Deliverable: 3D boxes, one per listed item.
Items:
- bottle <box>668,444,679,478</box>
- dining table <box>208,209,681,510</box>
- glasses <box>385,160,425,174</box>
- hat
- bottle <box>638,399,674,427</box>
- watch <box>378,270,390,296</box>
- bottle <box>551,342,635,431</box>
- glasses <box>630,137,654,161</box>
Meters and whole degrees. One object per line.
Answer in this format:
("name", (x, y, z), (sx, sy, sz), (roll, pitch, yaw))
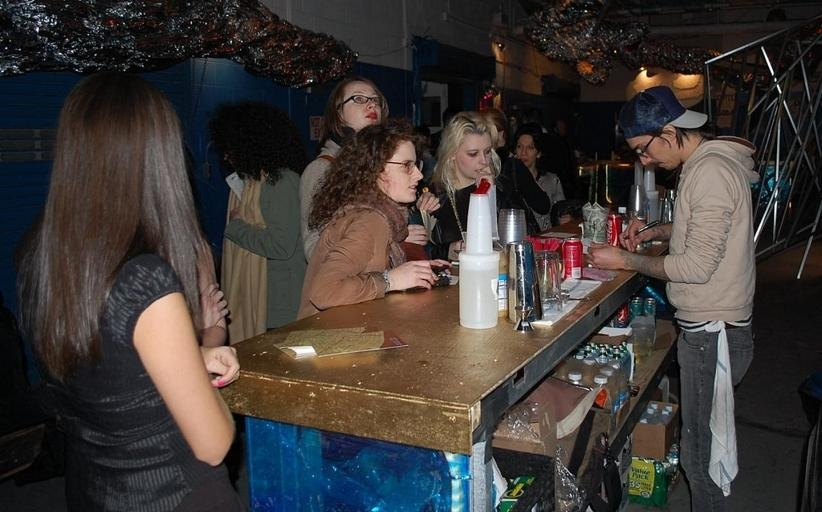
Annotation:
("bottle", (1.689, 1.311, 3.628), (0.063, 0.209, 0.156), (6, 4, 28))
("dining table", (0.054, 0.373, 2.148), (1.216, 0.294, 0.959), (2, 9, 17))
("glasses", (-0.039, -0.431, 2.722), (0.218, 0.065, 0.220), (3, 7, 25))
("hat", (1.311, -0.751, 2.954), (0.406, 0.208, 0.257), (-11, 18, 13))
("bottle", (1.604, 1.026, 3.662), (0.158, 0.097, 0.163), (-3, 8, 0))
("watch", (-0.115, 0.121, 2.513), (0.036, 0.083, 0.069), (1, -3, -7))
("bottle", (0.949, 0.636, 2.900), (0.299, 0.187, 0.519), (2, 16, 29))
("glasses", (1.221, -0.563, 2.973), (0.088, 0.027, 0.086), (-41, 0, 1))
